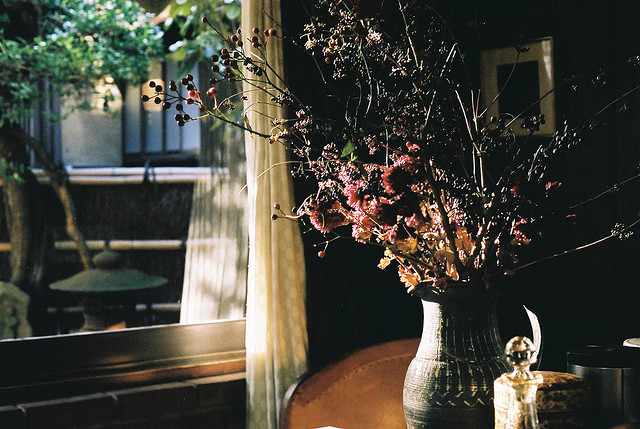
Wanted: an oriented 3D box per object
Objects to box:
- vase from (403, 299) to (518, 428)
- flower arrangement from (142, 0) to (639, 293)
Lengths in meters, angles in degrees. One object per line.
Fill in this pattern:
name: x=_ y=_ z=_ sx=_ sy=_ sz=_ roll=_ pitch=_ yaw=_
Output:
vase: x=0.350 y=0.479 z=2.197 sx=0.353 sy=0.538 sz=0.339 roll=3 pitch=-16 yaw=-7
flower arrangement: x=0.276 y=0.118 z=2.626 sx=1.282 sy=0.838 sz=1.407 roll=2 pitch=-17 yaw=4
